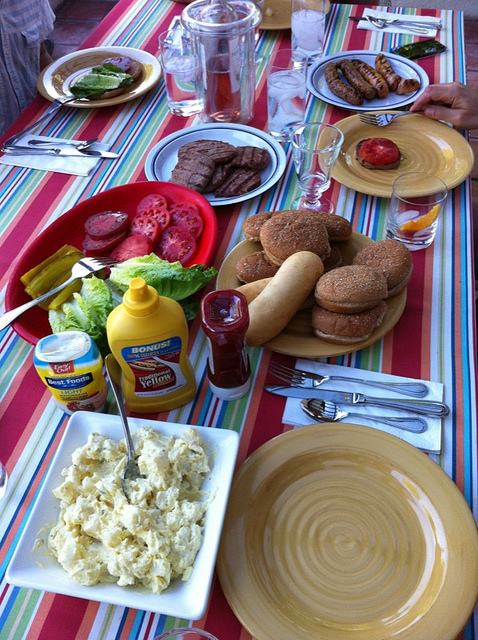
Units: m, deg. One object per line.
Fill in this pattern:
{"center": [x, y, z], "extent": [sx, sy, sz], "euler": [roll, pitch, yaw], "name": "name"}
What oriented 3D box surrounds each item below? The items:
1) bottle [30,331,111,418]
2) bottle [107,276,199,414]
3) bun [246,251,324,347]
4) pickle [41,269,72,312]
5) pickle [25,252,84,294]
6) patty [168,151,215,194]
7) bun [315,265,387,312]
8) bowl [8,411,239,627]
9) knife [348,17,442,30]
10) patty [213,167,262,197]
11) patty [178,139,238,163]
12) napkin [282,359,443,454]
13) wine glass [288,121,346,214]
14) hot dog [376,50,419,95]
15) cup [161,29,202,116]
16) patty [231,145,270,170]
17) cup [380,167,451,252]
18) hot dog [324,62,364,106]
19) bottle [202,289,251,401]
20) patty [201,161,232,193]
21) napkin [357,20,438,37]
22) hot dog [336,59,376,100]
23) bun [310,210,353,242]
{"center": [-0.255, 0.093, 0.807], "extent": [0.101, 0.141, 0.055], "euler": [-9, 39, -9], "name": "bottle"}
{"center": [-0.133, 0.040, 0.793], "extent": [0.122, 0.245, 0.066], "euler": [-15, 45, -14], "name": "bottle"}
{"center": [0.073, -0.036, 0.887], "extent": [0.059, 0.096, 0.182], "euler": [28, 53, 30], "name": "bun"}
{"center": [-0.345, -0.061, 0.988], "extent": [0.023, 0.018, 0.129], "euler": [26, 48, -5], "name": "pickle"}
{"center": [-0.368, -0.078, 1.023], "extent": [0.084, 0.071, 0.095], "euler": [16, 36, 22], "name": "pickle"}
{"center": [-0.107, -0.340, 1.211], "extent": [0.116, 0.074, 0.101], "euler": [12, 42, 18], "name": "patty"}
{"center": [0.183, -0.067, 0.882], "extent": [0.137, 0.044, 0.104], "euler": [-2, 44, -18], "name": "bun"}
{"center": [-0.137, 0.234, 0.667], "extent": [0.247, 0.054, 0.256], "euler": [-3, 43, 3], "name": "bowl"}
{"center": [0.534, -1.010, 1.777], "extent": [0.293, 0.020, 0.030], "euler": [9, 61, 3], "name": "knife"}
{"center": [-0.003, -0.322, 1.219], "extent": [0.102, 0.020, 0.065], "euler": [-18, 49, -9], "name": "patty"}
{"center": [-0.080, -0.416, 1.265], "extent": [0.126, 0.021, 0.077], "euler": [16, 50, 24], "name": "patty"}
{"center": [0.196, 0.132, 0.828], "extent": [0.215, 0.021, 0.122], "euler": [7, 37, 10], "name": "napkin"}
{"center": [0.172, -0.350, 1.254], "extent": [0.153, 0.199, 0.139], "euler": [-4, 7, -8], "name": "wine glass"}
{"center": [0.450, -0.716, 1.498], "extent": [0.084, 0.047, 0.161], "euler": [-18, 64, 11], "name": "hot dog"}
{"center": [-0.166, -0.711, 1.496], "extent": [0.136, 0.207, 0.112], "euler": [-2, 55, -4], "name": "cup"}
{"center": [0.026, -0.393, 1.260], "extent": [0.071, 0.017, 0.064], "euler": [10, 51, 7], "name": "patty"}
{"center": [0.369, -0.220, 1.089], "extent": [0.114, 0.126, 0.124], "euler": [-3, 39, 2], "name": "cup"}
{"center": [0.289, -0.666, 1.527], "extent": [0.071, 0.047, 0.198], "euler": [-8, 57, -25], "name": "hot dog"}
{"center": [-0.020, 0.049, 0.816], "extent": [0.083, 0.193, 0.080], "euler": [-4, 45, 4], "name": "bottle"}
{"center": [-0.048, -0.340, 1.227], "extent": [0.057, 0.019, 0.086], "euler": [17, 61, 33], "name": "patty"}
{"center": [0.531, -0.977, 1.754], "extent": [0.310, 0.013, 0.072], "euler": [8, 54, 4], "name": "napkin"}
{"center": [0.324, -0.691, 1.513], "extent": [0.055, 0.043, 0.169], "euler": [-8, 58, -27], "name": "hot dog"}
{"center": [0.186, -0.178, 1.032], "extent": [0.086, 0.026, 0.047], "euler": [21, 53, -5], "name": "bun"}
